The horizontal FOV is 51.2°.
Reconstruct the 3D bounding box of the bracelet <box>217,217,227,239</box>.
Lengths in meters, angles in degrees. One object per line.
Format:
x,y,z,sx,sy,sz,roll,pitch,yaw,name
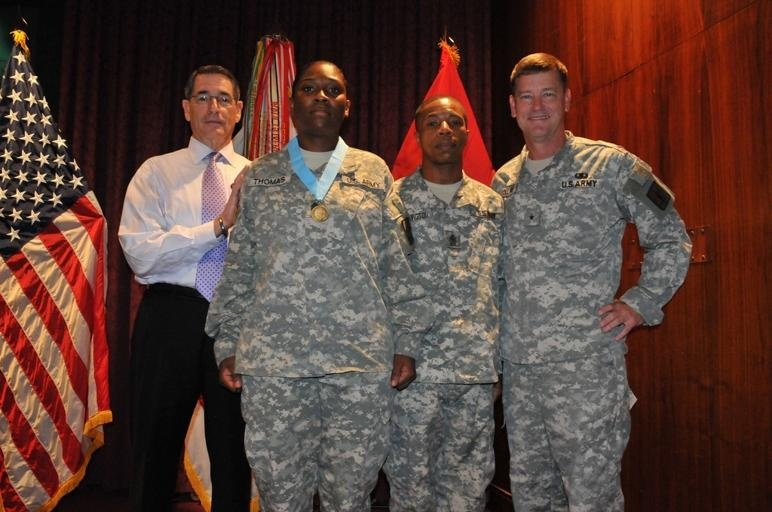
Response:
-0.844,-0.143,4.155,0.022,0.080,0.084,-17,34,-7,bracelet
